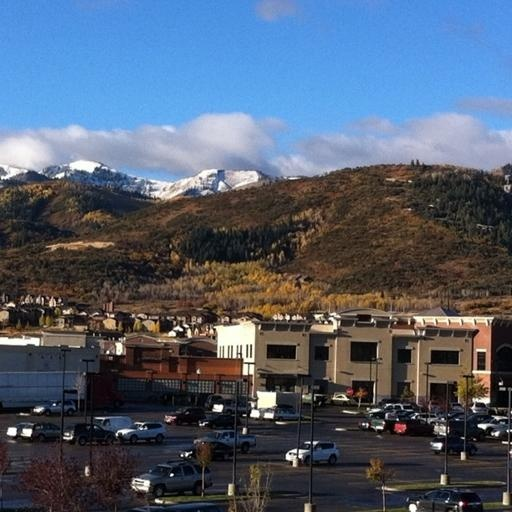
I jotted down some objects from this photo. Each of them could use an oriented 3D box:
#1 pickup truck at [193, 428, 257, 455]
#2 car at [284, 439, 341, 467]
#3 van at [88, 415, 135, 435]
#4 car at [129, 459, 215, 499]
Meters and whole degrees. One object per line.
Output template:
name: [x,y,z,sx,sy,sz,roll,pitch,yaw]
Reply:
pickup truck: [-2.375,13.942,105.521,4.259,1.704,5.892,6,-19,-31]
car: [4.271,14.648,104.983,4.226,1.926,2.004,7,-10,-25]
van: [-11.458,13.529,112.157,2.165,1.293,1.397,4,-4,-18]
car: [-5.546,14.718,92.595,5.303,2.136,1.894,3,-6,-33]
